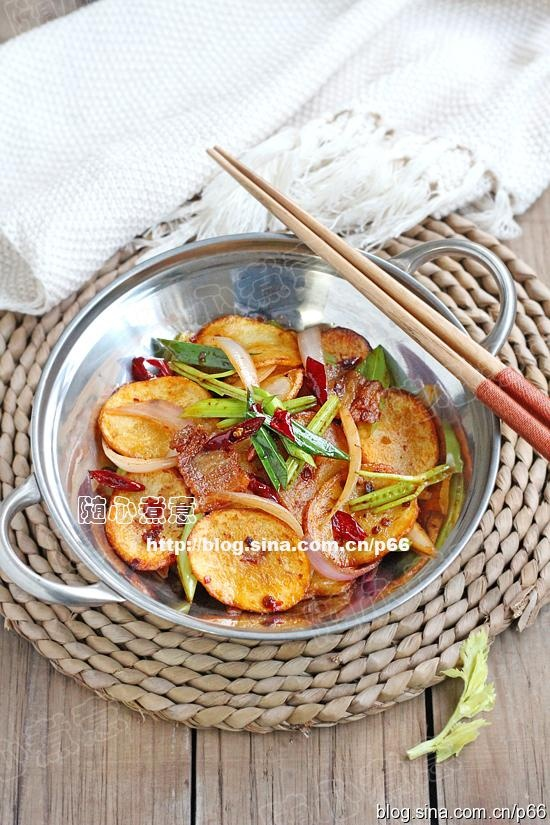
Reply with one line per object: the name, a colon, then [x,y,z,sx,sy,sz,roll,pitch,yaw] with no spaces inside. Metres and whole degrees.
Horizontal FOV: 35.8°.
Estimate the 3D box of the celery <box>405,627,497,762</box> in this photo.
celery: [0.276,0.419,1.239,0.085,0.077,0.214,25,70,14]
